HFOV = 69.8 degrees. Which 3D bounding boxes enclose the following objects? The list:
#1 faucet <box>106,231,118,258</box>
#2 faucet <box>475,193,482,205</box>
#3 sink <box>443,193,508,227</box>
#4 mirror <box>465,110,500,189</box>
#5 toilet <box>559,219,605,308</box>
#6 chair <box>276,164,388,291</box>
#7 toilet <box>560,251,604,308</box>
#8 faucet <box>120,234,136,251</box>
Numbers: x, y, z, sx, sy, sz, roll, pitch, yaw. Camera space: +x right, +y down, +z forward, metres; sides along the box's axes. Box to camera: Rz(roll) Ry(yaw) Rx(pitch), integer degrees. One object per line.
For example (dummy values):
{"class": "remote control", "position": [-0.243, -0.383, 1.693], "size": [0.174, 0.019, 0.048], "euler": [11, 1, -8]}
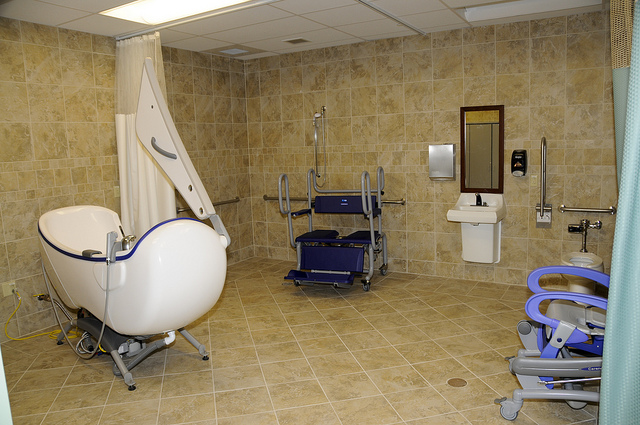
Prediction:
{"class": "faucet", "position": [-1.839, 0.281, 4.019], "size": [0.093, 0.222, 0.070], "euler": [-5, 11, -26]}
{"class": "faucet", "position": [2.084, -0.179, 6.023], "size": [0.090, 0.145, 0.056], "euler": [4, 11, 25]}
{"class": "sink", "position": [1.999, -0.051, 5.806], "size": [0.647, 0.290, 0.649], "euler": [5, 11, 25]}
{"class": "mirror", "position": [2.114, -0.831, 5.996], "size": [0.576, 1.370, 0.036], "euler": [1, -26, 17]}
{"class": "toilet", "position": [2.991, 0.595, 5.247], "size": [0.417, 0.943, 0.658], "euler": [5, 15, 41]}
{"class": "chair", "position": [0.236, 0.211, 6.385], "size": [1.431, 1.664, 1.607], "euler": [3, 8, 39]}
{"class": "toilet", "position": [2.950, 0.721, 5.187], "size": [0.416, 0.479, 0.505], "euler": [6, 12, 33]}
{"class": "faucet", "position": [-1.725, 0.282, 4.181], "size": [0.167, 0.168, 0.098], "euler": [4, -3, -20]}
